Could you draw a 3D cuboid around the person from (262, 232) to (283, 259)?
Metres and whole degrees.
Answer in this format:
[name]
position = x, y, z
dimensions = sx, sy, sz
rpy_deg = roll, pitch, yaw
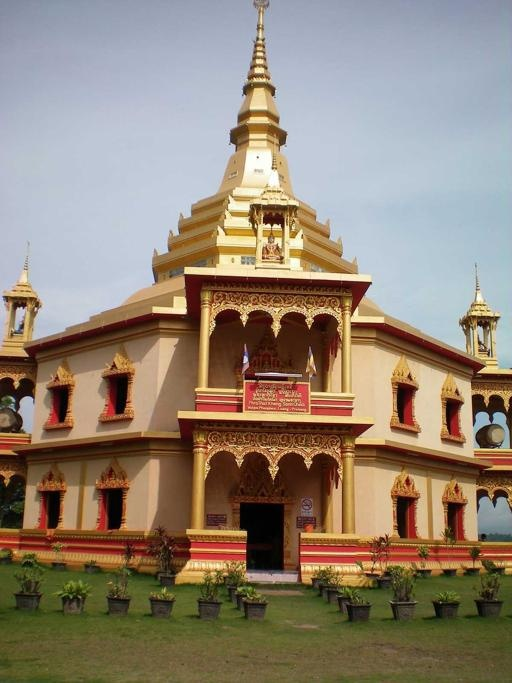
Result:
[person]
position = 0.415, -2.359, 21.707
dimensions = 0.516, 0.830, 0.508
rpy_deg = 1, -18, 1
